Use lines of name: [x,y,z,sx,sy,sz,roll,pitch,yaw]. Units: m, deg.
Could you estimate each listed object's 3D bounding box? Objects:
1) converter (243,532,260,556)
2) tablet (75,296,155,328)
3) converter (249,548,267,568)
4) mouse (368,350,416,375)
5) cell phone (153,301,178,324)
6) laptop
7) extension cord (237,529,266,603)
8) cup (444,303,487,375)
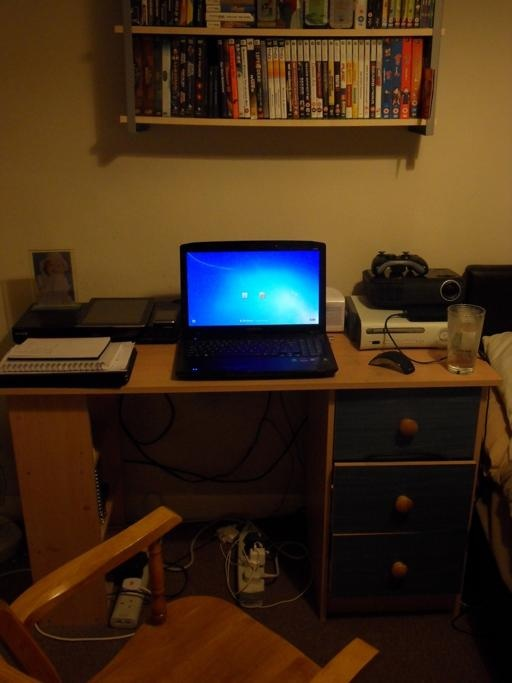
converter: [-0.016,0.682,1.869,0.033,0.072,0.037,2,18,3]
tablet: [-0.417,-0.085,1.663,0.197,0.014,0.233,-2,25,-5]
converter: [0.006,0.687,1.775,0.043,0.054,0.046,1,5,-1]
mouse: [0.363,0.045,1.427,0.055,0.038,0.091,-20,29,-40]
cell phone: [-0.273,-0.083,1.665,0.092,0.020,0.181,-6,22,-6]
laptop: [-0.009,-0.116,1.634,0.527,0.385,0.473,-1,24,-3]
extension cord: [-0.015,0.715,1.747,0.052,0.126,0.098,-1,20,-4]
cup: [0.529,0.004,1.470,0.107,0.182,0.116,0,19,0]
